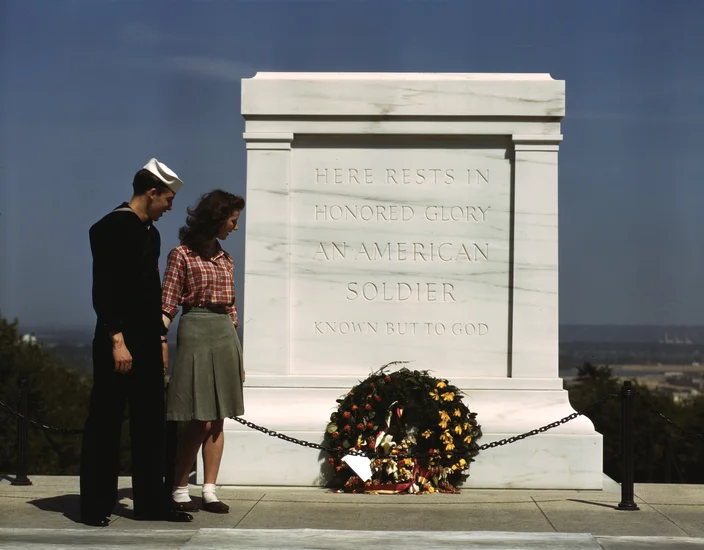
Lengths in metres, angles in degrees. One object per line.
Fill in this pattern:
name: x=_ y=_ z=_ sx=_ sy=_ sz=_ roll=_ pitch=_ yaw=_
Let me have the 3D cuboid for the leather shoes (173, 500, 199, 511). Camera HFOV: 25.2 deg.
leather shoes: x=-1.624 y=2.318 z=15.692 sx=0.268 sy=0.091 sz=0.089 roll=0 pitch=-2 yaw=1

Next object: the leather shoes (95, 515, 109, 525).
leather shoes: x=-2.390 y=2.401 z=15.295 sx=0.135 sy=0.088 sz=0.076 roll=0 pitch=1 yaw=-26

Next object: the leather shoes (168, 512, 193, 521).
leather shoes: x=-1.665 y=2.373 z=15.392 sx=0.176 sy=0.044 sz=0.097 roll=4 pitch=-2 yaw=-3

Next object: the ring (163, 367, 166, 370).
ring: x=-1.827 y=0.936 z=15.541 sx=0.032 sy=0.027 sz=0.017 roll=3 pitch=-10 yaw=-31
